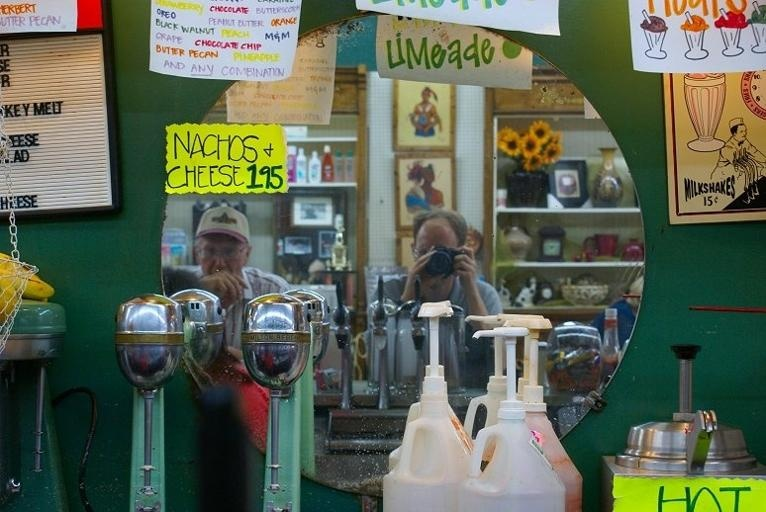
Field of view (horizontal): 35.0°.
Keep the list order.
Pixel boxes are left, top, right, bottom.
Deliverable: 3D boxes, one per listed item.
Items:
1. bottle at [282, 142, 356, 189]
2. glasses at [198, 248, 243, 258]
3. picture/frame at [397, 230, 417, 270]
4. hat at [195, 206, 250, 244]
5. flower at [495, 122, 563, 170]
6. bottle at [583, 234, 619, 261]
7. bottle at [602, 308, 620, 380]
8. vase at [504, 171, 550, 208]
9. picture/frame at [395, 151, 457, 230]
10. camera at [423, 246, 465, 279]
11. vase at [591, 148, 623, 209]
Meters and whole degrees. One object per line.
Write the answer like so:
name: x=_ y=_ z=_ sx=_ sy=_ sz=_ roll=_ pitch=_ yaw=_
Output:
bottle: x=-0.200 y=-0.306 z=3.977 sx=0.226 sy=0.149 sz=0.049 roll=0 pitch=1 yaw=-4
glasses: x=-0.527 y=-0.010 z=3.970 sx=0.127 sy=0.028 sz=0.020 roll=0 pitch=2 yaw=-7
picture/frame: x=0.070 y=-0.016 z=3.978 sx=0.011 sy=0.111 sz=0.055 roll=2 pitch=2 yaw=35
hat: x=-0.499 y=-0.078 z=4.029 sx=0.145 sy=0.127 sz=0.255 roll=6 pitch=-5 yaw=-3
flower: x=0.486 y=-0.362 z=3.927 sx=0.164 sy=0.183 sz=0.074 roll=24 pitch=3 yaw=-2
bottle: x=0.711 y=-0.028 z=3.969 sx=0.117 sy=0.084 sz=0.012 roll=0 pitch=1 yaw=-7
bottle: x=0.747 y=0.292 z=3.974 sx=0.066 sy=0.233 sz=0.016 roll=0 pitch=2 yaw=-22
vase: x=0.477 y=-0.206 z=4.012 sx=0.140 sy=0.146 sz=0.090 roll=1 pitch=-32 yaw=3
picture/frame: x=0.139 y=-0.214 z=3.964 sx=0.198 sy=0.269 sz=0.014 roll=-4 pitch=-25 yaw=7
camera: x=0.183 y=0.027 z=4.034 sx=0.132 sy=0.111 sz=0.084 roll=1 pitch=-4 yaw=4
vase: x=0.742 y=-0.250 z=4.026 sx=0.120 sy=0.216 sz=0.128 roll=-4 pitch=-16 yaw=28
